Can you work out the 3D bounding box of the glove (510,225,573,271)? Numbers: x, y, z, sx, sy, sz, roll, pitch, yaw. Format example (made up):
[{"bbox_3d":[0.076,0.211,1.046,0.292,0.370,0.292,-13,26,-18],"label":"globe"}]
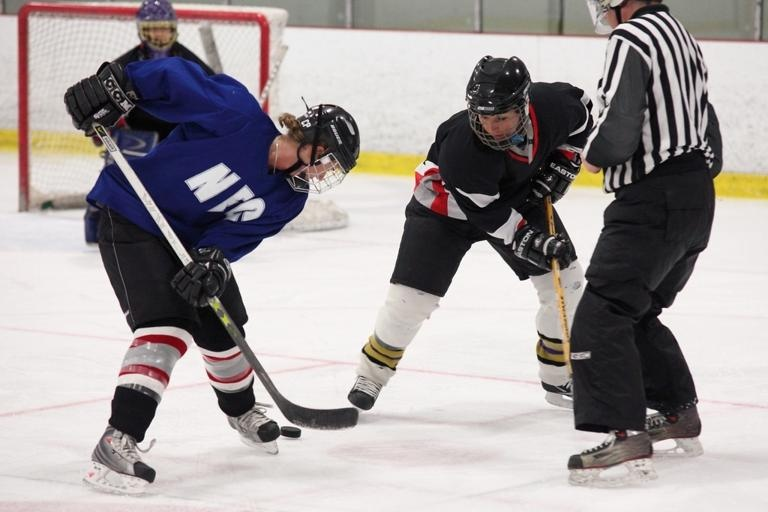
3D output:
[{"bbox_3d":[0.587,-0.044,3.232,0.218,0.142,0.080,18,44,17],"label":"glove"}]

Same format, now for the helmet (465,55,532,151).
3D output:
[{"bbox_3d":[0.437,-0.575,3.119,0.249,0.285,0.294,15,43,33],"label":"helmet"}]

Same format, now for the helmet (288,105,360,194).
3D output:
[{"bbox_3d":[-0.194,-0.371,2.933,0.286,0.270,0.242,-8,-7,-16],"label":"helmet"}]

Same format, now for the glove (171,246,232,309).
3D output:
[{"bbox_3d":[-0.577,0.071,2.851,0.156,0.211,0.101,49,7,9],"label":"glove"}]

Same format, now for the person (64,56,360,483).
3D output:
[{"bbox_3d":[-0.593,0.021,3.000,0.907,1.382,0.660,-2,15,-21],"label":"person"}]

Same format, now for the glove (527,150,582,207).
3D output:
[{"bbox_3d":[0.693,-0.299,3.450,0.172,0.229,0.103,47,2,17],"label":"glove"}]

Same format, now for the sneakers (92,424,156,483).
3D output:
[{"bbox_3d":[-0.833,0.630,2.803,0.295,0.146,0.102,1,-6,33],"label":"sneakers"}]

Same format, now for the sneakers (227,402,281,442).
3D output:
[{"bbox_3d":[-0.467,0.604,3.147,0.113,0.076,0.214,-23,10,-35],"label":"sneakers"}]

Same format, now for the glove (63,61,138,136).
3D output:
[{"bbox_3d":[-1.018,-0.537,3.003,0.276,0.128,0.294,-35,12,24],"label":"glove"}]
